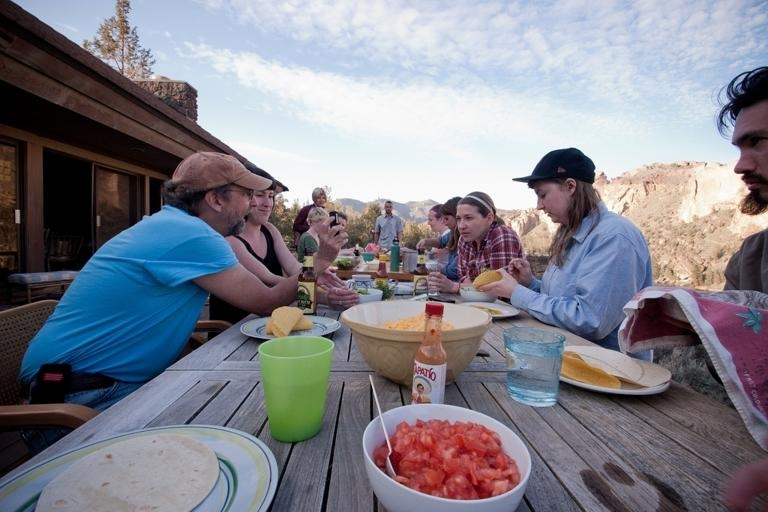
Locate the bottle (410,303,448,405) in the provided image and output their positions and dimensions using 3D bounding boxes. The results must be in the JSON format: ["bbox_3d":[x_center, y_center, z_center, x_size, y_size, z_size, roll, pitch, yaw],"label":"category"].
[{"bbox_3d":[0.152,0.318,1.190,0.096,0.339,0.089,4,5,0],"label":"bottle"}]

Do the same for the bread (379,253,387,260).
[{"bbox_3d":[-0.006,0.017,2.678,0.064,0.037,0.061,0,3,-2],"label":"bread"}]

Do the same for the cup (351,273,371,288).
[{"bbox_3d":[-0.195,0.208,3.043,0.119,0.106,0.118,0,3,0],"label":"cup"}]

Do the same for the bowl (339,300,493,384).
[{"bbox_3d":[0.255,0.432,1.496,0.588,0.227,0.595,0,-19,0],"label":"bowl"}]

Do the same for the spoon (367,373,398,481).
[{"bbox_3d":[-0.030,0.495,1.060,0.039,0.267,0.057,-18,-30,-6],"label":"spoon"}]

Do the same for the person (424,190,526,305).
[{"bbox_3d":[0.756,-0.160,4.086,1.270,1.067,0.841,-2,-2,-12],"label":"person"}]

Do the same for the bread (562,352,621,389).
[{"bbox_3d":[0.810,0.442,1.435,0.135,0.048,0.135,14,12,5],"label":"bread"}]

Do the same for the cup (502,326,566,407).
[{"bbox_3d":[0.536,0.400,1.403,0.253,0.268,0.253,-1,1,0],"label":"cup"}]

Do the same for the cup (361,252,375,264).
[{"bbox_3d":[-0.272,0.047,6.234,0.188,0.126,0.184,-1,-4,0],"label":"cup"}]

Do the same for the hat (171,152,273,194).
[{"bbox_3d":[-1.016,-0.462,2.213,0.452,0.157,0.276,-1,12,-27],"label":"hat"}]

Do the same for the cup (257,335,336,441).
[{"bbox_3d":[-0.219,0.431,1.263,0.304,0.315,0.302,0,-2,0],"label":"cup"}]

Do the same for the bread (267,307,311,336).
[{"bbox_3d":[-0.478,0.329,1.814,0.150,0.055,0.154,17,21,33],"label":"bread"}]
